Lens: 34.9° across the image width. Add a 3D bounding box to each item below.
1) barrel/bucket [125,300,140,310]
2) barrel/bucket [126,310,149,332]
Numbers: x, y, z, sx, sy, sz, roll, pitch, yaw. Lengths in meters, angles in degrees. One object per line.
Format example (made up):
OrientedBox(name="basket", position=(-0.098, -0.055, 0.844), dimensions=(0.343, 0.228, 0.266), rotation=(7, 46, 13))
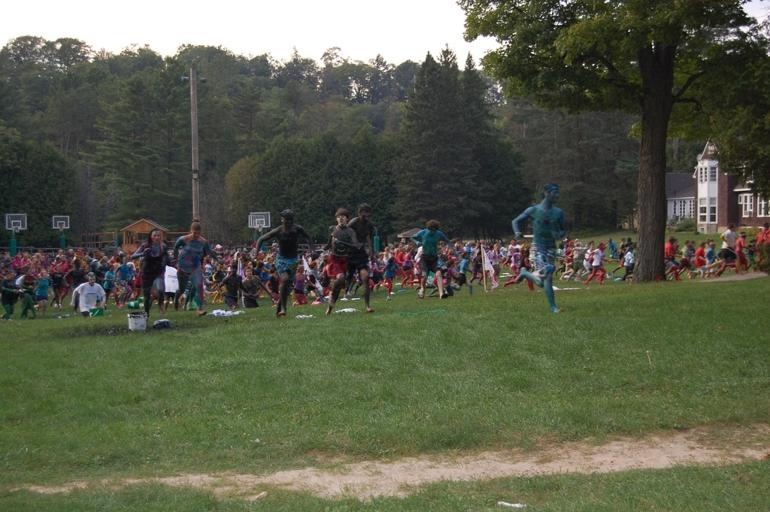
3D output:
OrientedBox(name="barrel/bucket", position=(-11.480, 2.257, 56.319), dimensions=(0.529, 0.425, 0.881), rotation=(-2, -3, 25))
OrientedBox(name="barrel/bucket", position=(-11.250, 2.993, 55.546), dimensions=(0.934, 0.827, 0.848), rotation=(2, -5, -33))
